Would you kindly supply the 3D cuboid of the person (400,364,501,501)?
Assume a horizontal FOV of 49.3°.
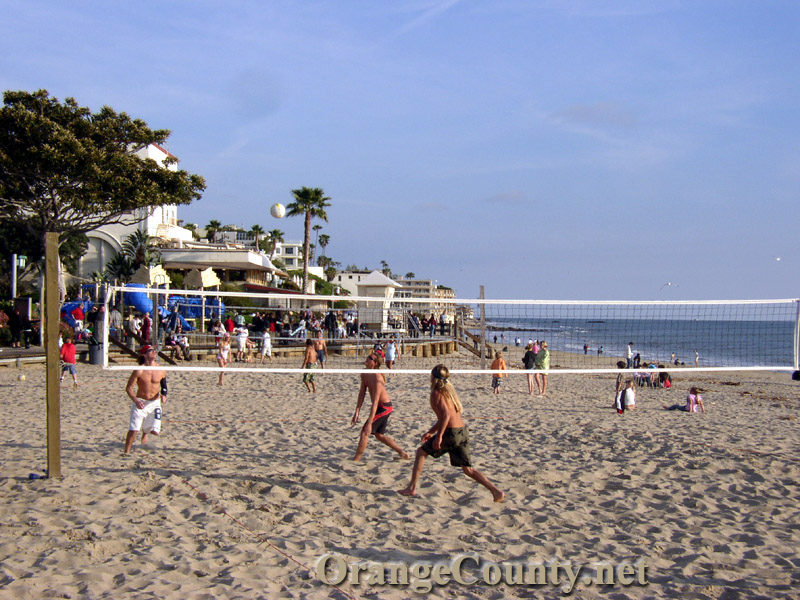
[{"bbox_3d":[0.667,1.659,10.832,1.251,1.699,0.624,5,12,16],"label":"person"}]
